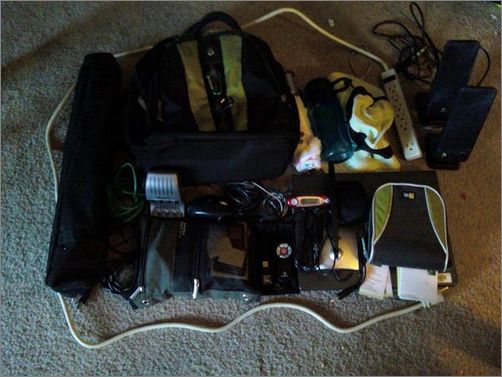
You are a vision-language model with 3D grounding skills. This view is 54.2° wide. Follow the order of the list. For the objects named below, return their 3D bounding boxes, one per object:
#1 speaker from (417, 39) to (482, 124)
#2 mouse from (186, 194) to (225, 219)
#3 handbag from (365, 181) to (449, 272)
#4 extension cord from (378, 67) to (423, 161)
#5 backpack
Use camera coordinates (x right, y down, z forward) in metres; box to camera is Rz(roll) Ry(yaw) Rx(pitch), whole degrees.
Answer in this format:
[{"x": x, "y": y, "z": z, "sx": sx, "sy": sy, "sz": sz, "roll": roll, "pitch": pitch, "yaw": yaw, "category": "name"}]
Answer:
[{"x": 0.902, "y": -0.500, "z": 2.201, "sx": 0.296, "sy": 0.333, "sz": 0.357, "roll": 9, "pitch": 50, "yaw": 8, "category": "speaker"}, {"x": -0.179, "y": 0.081, "z": 2.054, "sx": 0.182, "sy": 0.059, "sz": 0.106, "roll": -1, "pitch": 49, "yaw": -5, "category": "mouse"}, {"x": 0.640, "y": 0.158, "z": 1.929, "sx": 0.312, "sy": 0.118, "sz": 0.353, "roll": 4, "pitch": 77, "yaw": 3, "category": "handbag"}, {"x": 0.686, "y": -0.342, "z": 2.273, "sx": 0.108, "sy": 0.121, "sz": 0.516, "roll": -11, "pitch": 87, "yaw": 22, "category": "extension cord"}, {"x": -0.186, "y": -0.425, "z": 2.155, "sx": 0.745, "sy": 0.286, "sz": 0.827, "roll": -12, "pitch": 67, "yaw": -9, "category": "backpack"}]
